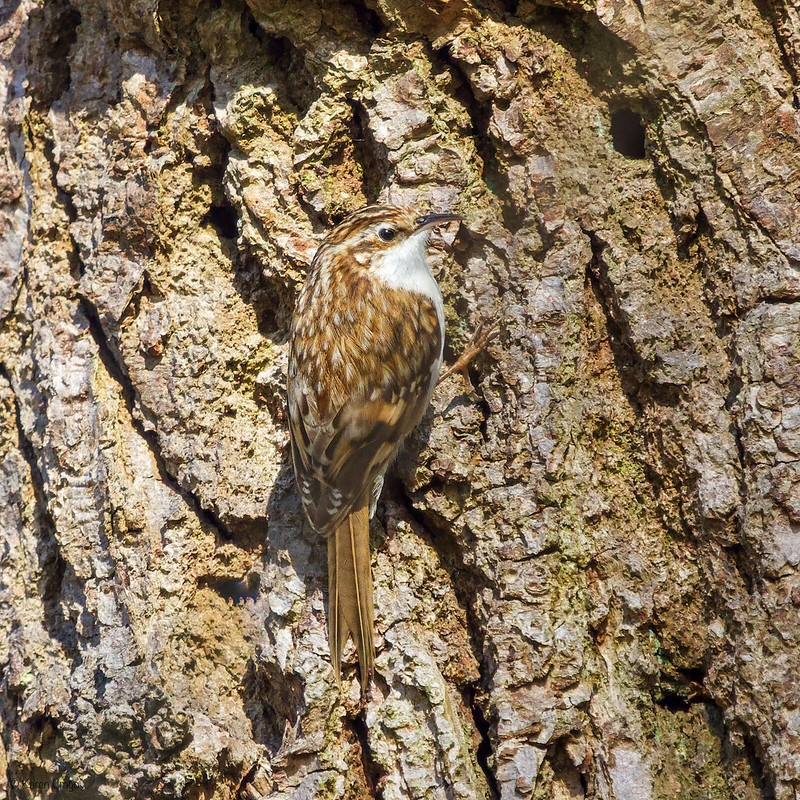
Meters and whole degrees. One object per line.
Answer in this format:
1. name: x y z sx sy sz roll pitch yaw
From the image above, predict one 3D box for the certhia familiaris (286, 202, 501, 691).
1. certhia familiaris: -0.101 0.004 4.426 0.472 0.882 0.745 11 29 15
